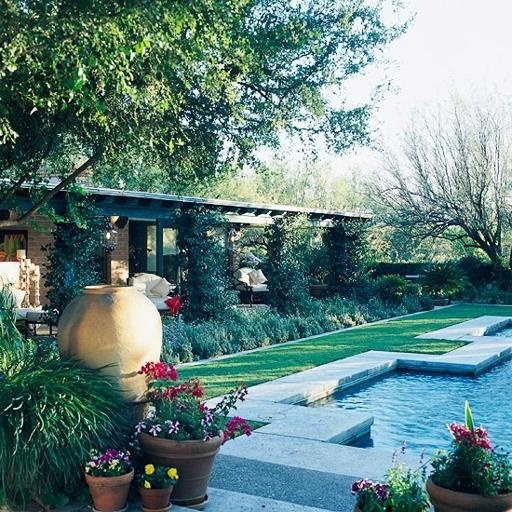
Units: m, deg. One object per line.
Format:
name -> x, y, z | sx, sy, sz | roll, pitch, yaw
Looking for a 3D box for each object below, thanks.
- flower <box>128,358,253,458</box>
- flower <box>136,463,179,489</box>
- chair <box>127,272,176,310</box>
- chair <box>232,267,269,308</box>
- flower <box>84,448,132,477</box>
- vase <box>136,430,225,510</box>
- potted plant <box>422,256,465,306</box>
flower -> -0.509, 1.083, 4.189 | 0.767, 0.491, 0.747 | 9, -2, -21
flower -> -0.631, 1.395, 3.755 | 0.239, 0.113, 0.240 | 11, 5, -7
chair -> -2.751, 0.882, 15.194 | 1.209, 0.589, 2.580 | 11, 5, -11
chair -> -0.166, 0.963, 18.532 | 1.165, 1.216, 1.167 | 1, -1, -39
flower -> -0.950, 1.295, 3.702 | 0.203, 0.105, 0.206 | 4, -4, -40
vase -> -0.501, 1.342, 3.753 | 0.486, 0.327, 0.463 | 0, -14, 0
potted plant -> 7.039, 0.904, 21.700 | 1.636, 1.627, 1.630 | -7, 6, -43
